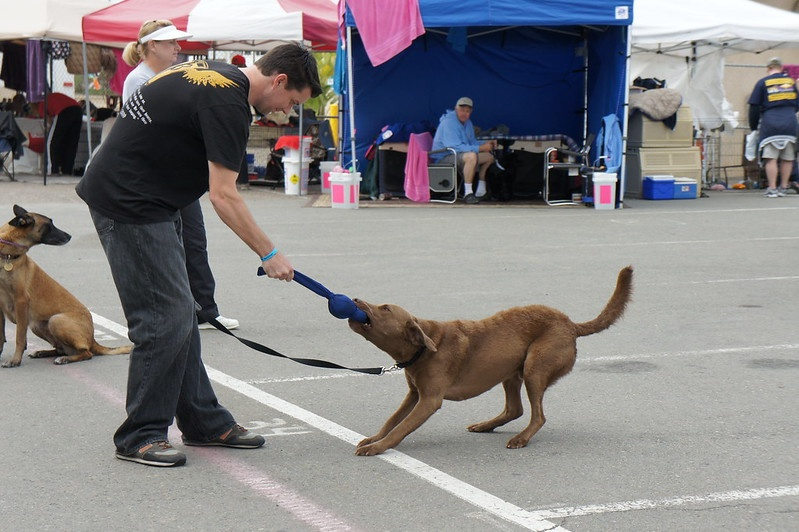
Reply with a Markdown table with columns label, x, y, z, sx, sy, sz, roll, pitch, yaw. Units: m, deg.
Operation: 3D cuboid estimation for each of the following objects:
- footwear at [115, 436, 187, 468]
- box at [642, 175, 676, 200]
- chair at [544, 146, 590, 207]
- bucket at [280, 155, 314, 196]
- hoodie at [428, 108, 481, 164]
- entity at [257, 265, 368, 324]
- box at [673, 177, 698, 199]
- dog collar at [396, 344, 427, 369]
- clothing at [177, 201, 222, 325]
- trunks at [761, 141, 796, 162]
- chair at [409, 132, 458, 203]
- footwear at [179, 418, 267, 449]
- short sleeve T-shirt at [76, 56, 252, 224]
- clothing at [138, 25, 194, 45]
| label | x | y | z | sx | sy | sz | roll | pitch | yaw |
| --- | --- | --- | --- | --- | --- | --- | --- | --- | --- |
| footwear | -1.792 | 1.359 | 7.865 | 0.486 | 0.175 | 0.190 | 0 | -6 | 12 |
| box | 5.027 | -1.539 | 21.034 | 0.524 | 0.411 | 0.502 | -1 | 2 | -27 |
| chair | 3.169 | -1.833 | 20.403 | 0.950 | 1.172 | 0.784 | -1 | 8 | 10 |
| bucket | -2.103 | -1.864 | 21.970 | 0.712 | 0.740 | 0.666 | 1 | 7 | 0 |
| hoodie | 0.968 | -2.349 | 19.650 | 1.018 | 0.899 | 0.784 | 1 | 10 | 21 |
| entity | -0.875 | 0.295 | 10.547 | 0.753 | 0.204 | 0.200 | 30 | -35 | -3 |
| box | 5.578 | -1.536 | 21.032 | 0.449 | 0.247 | 0.430 | 1 | 6 | 15 |
| dog collar | 0.090 | 0.678 | 8.028 | 0.238 | 0.163 | 0.047 | 1 | 6 | 16 |
| clothing | -1.912 | -0.073 | 10.235 | 0.246 | 0.883 | 0.212 | -12 | -5 | 12 |
| trunks | 7.355 | -2.313 | 21.037 | 0.643 | 0.347 | 0.584 | 10 | 25 | 10 |
| chair | 0.645 | -1.831 | 20.611 | 1.126 | 1.232 | 1.347 | -1 | -1 | 6 |
| footwear | -1.314 | 1.272 | 8.264 | 0.683 | 0.226 | 0.220 | -1 | 0 | -2 |
| short sleeve T-shirt | -1.648 | -0.886 | 7.711 | 1.149 | 1.141 | 0.327 | 1 | 6 | 12 |
| clothing | -2.099 | -2.070 | 9.640 | 0.336 | 0.088 | 0.221 | -5 | 6 | 12 |
